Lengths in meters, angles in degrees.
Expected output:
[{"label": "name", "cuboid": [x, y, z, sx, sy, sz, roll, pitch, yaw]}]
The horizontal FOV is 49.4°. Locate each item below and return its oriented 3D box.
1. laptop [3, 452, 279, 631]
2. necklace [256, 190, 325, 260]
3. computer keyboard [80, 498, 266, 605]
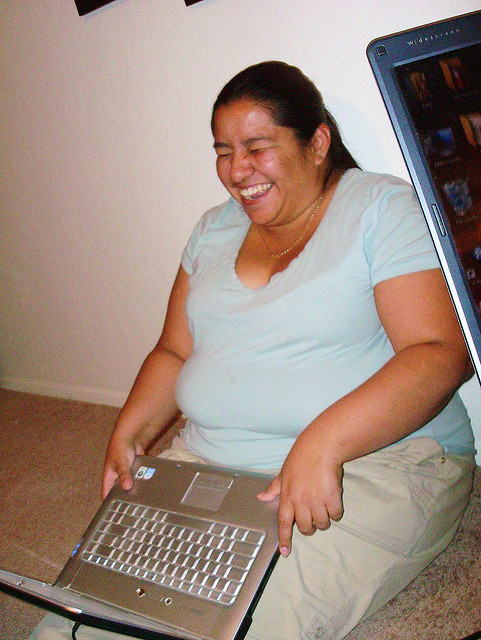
[{"label": "laptop", "cuboid": [-0.084, 0.269, 0.676, 0.304, 0.061, 0.247, -11, 19, 32]}, {"label": "necklace", "cuboid": [0.084, -0.168, 0.899, 0.096, 0.009, 0.129, 15, 80, 44]}, {"label": "computer keyboard", "cuboid": [-0.082, 0.278, 0.633, 0.193, 0.027, 0.080, 7, 61, 47]}]
